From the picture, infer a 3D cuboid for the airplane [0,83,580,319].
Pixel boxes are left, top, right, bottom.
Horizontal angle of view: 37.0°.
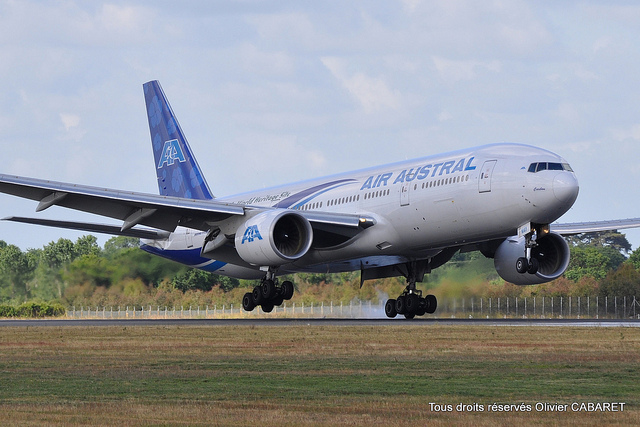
[{"bbox_3d":[0.026,-0.351,30.953,15.934,7.324,8.617,-2,-8,13],"label":"airplane"}]
